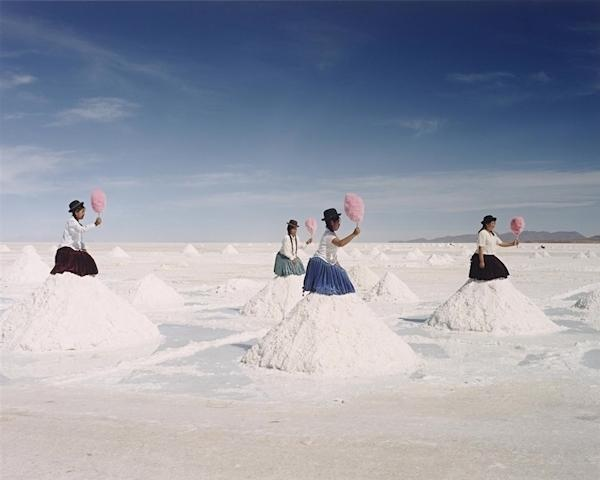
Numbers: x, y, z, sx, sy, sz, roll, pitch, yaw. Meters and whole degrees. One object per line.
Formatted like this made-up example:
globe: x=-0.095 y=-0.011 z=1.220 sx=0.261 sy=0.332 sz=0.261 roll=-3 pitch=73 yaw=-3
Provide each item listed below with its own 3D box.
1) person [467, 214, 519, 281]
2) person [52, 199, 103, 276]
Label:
person: x=4.200 y=0.196 z=11.564 sx=0.699 sy=1.442 sz=0.405 roll=-2 pitch=7 yaw=-10
person: x=-4.648 y=0.005 z=10.640 sx=0.874 sy=1.583 sz=0.690 roll=-1 pitch=7 yaw=-2
